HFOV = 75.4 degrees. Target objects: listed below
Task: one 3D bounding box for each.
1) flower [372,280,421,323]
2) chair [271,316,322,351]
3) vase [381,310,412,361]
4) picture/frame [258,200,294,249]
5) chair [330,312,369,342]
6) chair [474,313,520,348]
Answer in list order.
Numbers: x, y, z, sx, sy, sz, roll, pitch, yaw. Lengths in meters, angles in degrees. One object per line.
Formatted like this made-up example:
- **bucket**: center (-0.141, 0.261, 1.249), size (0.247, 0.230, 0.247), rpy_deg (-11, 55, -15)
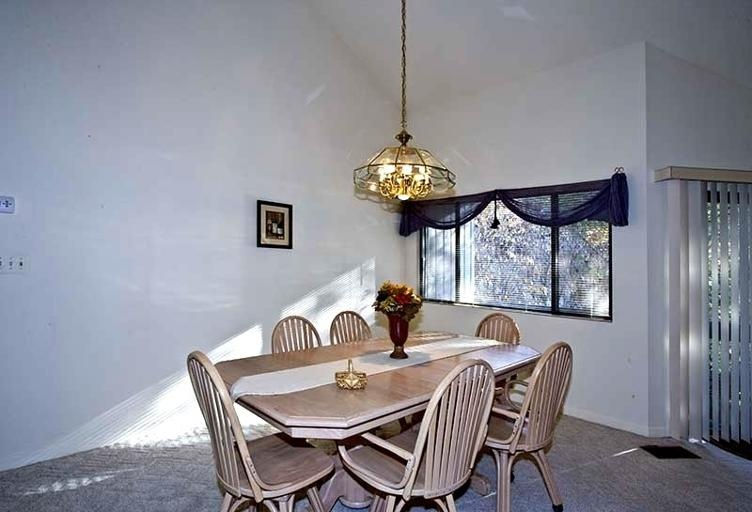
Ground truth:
- **flower**: center (0.204, 0.357, 4.432), size (0.349, 0.225, 0.359), rpy_deg (18, -18, 4)
- **chair**: center (-0.841, 0.720, 5.007), size (0.387, 0.531, 0.387), rpy_deg (-1, -2, -28)
- **vase**: center (0.196, 0.721, 4.435), size (0.298, 0.382, 0.310), rpy_deg (3, -6, 1)
- **picture/frame**: center (-1.208, -0.370, 5.722), size (0.566, 0.681, 0.048), rpy_deg (0, -1, -43)
- **chair**: center (-0.282, 0.757, 5.264), size (0.328, 0.467, 0.346), rpy_deg (-1, -3, -29)
- **chair**: center (1.334, 0.799, 5.285), size (0.311, 0.556, 0.375), rpy_deg (-4, -13, 40)
